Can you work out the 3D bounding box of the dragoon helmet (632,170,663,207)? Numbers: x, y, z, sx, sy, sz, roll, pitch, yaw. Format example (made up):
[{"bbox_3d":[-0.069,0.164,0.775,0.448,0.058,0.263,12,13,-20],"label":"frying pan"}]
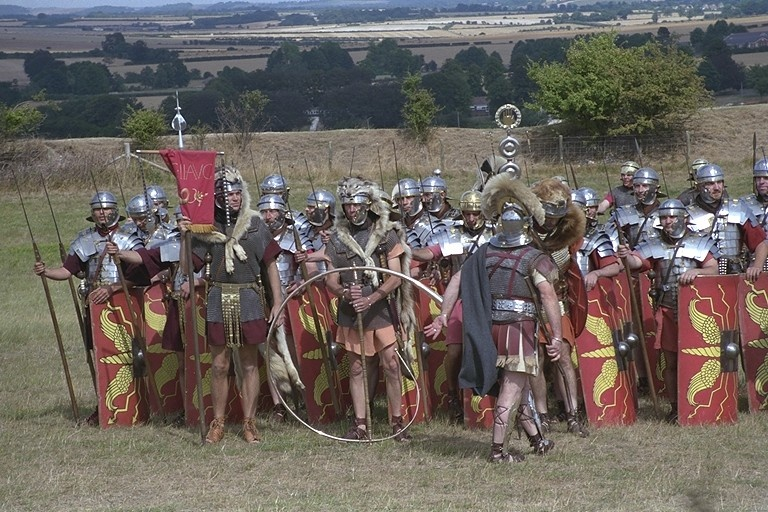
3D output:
[{"bbox_3d":[5.602,-1.442,29.519,0.570,0.679,0.784,-2,-4,25],"label":"dragoon helmet"}]

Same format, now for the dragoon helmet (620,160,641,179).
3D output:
[{"bbox_3d":[5.490,-1.954,31.209,0.351,0.340,0.430,-3,-18,39],"label":"dragoon helmet"}]

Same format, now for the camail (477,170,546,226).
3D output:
[{"bbox_3d":[2.410,-1.044,26.199,1.095,0.493,0.893,37,-36,-14],"label":"camail"}]

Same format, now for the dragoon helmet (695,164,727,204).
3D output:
[{"bbox_3d":[6.820,-1.491,28.861,0.713,0.880,0.759,-2,2,-19],"label":"dragoon helmet"}]

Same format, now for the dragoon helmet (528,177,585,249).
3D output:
[{"bbox_3d":[3.320,-0.854,26.899,0.839,1.427,1.000,1,0,4],"label":"dragoon helmet"}]

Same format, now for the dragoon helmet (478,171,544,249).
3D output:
[{"bbox_3d":[2.412,-0.869,26.115,1.158,1.391,0.534,-3,6,2],"label":"dragoon helmet"}]

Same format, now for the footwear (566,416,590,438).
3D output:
[{"bbox_3d":[3.678,3.301,26.945,0.221,0.597,0.234,-44,-2,-6],"label":"footwear"}]

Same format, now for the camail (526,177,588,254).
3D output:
[{"bbox_3d":[3.306,-0.779,26.909,0.853,1.459,1.008,1,0,4],"label":"camail"}]
